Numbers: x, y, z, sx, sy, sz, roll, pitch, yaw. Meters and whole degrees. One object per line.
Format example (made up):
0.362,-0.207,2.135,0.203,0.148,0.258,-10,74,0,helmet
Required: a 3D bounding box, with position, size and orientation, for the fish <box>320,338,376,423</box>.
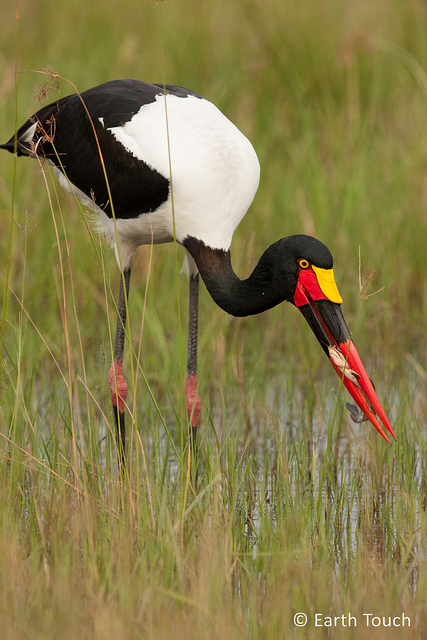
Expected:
0.399,0.167,2.423,0.101,0.088,0.332,-26,81,26,fish
